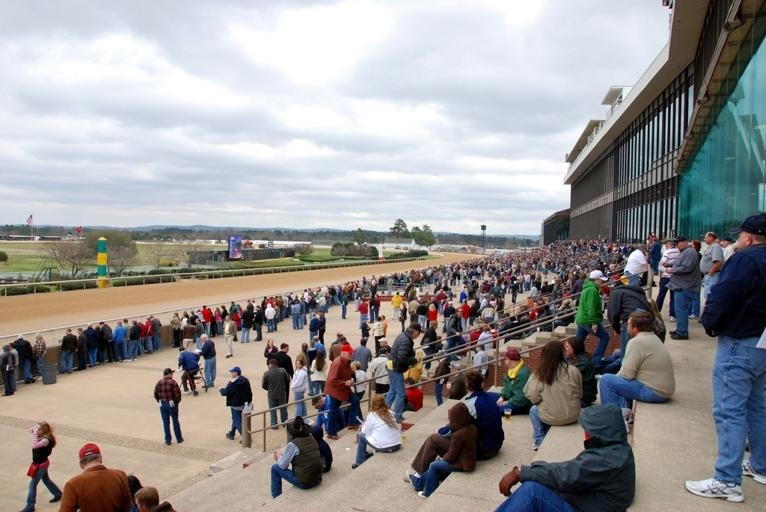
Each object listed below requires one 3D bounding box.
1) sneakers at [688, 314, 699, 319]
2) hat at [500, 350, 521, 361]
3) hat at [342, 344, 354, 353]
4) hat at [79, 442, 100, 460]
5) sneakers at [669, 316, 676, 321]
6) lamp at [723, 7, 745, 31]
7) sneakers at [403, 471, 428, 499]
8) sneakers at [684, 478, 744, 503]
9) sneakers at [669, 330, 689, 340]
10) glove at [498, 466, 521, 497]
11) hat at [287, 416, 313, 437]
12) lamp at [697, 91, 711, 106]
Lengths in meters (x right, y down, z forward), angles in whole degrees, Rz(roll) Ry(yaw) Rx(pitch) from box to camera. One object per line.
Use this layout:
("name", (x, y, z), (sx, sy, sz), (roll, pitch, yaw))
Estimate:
("sneakers", (7.822, 1.530, 12.651), (0.228, 0.096, 0.099), (2, 3, 31))
("hat", (2.365, 1.794, 9.202), (0.243, 0.197, 0.319), (-3, 10, -15))
("hat", (-0.935, 2.439, 13.156), (0.413, 0.224, 0.280), (-2, 1, 5))
("hat", (-4.376, 2.911, 7.527), (0.242, 0.172, 0.329), (-1, 3, -27))
("sneakers", (7.392, 1.611, 12.840), (0.101, 0.110, 0.278), (-2, -5, 5))
("lamp", (8.394, -5.576, 11.916), (0.142, 0.390, 0.274), (9, -6, -14))
("sneakers", (0.531, 3.595, 7.939), (0.168, 0.182, 0.456), (46, 4, -46))
("sneakers", (4.058, 2.816, 6.233), (0.643, 0.298, 0.256), (4, -9, 23))
("sneakers", (6.588, 1.778, 11.216), (0.295, 0.116, 0.195), (8, 1, 13))
("glove", (1.667, 2.947, 6.577), (0.250, 0.453, 0.208), (1, 3, 10))
("hat", (-1.436, 3.057, 9.010), (0.520, 0.196, 0.355), (1, 2, -19))
("lamp", (9.574, -4.644, 14.956), (0.107, 0.297, 0.848), (1, 3, 15))
